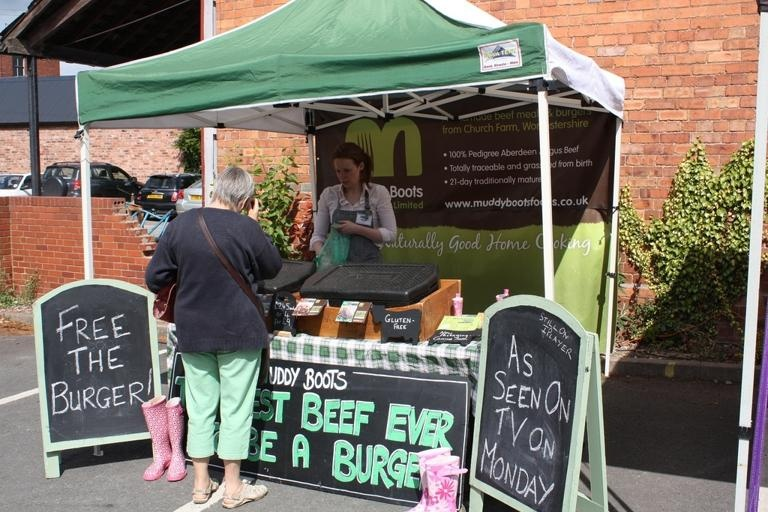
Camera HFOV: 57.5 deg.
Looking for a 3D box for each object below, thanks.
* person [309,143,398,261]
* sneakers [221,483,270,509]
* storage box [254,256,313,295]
[{"bbox_3d":[-0.318,-0.521,6.681,0.836,1.113,0.447,4,6,21],"label":"person"},{"bbox_3d":[-1.080,1.872,5.515,0.368,0.168,0.143,-7,9,-38],"label":"sneakers"},{"bbox_3d":[-0.813,0.164,5.907,0.278,0.080,0.295,5,28,24],"label":"storage box"}]
